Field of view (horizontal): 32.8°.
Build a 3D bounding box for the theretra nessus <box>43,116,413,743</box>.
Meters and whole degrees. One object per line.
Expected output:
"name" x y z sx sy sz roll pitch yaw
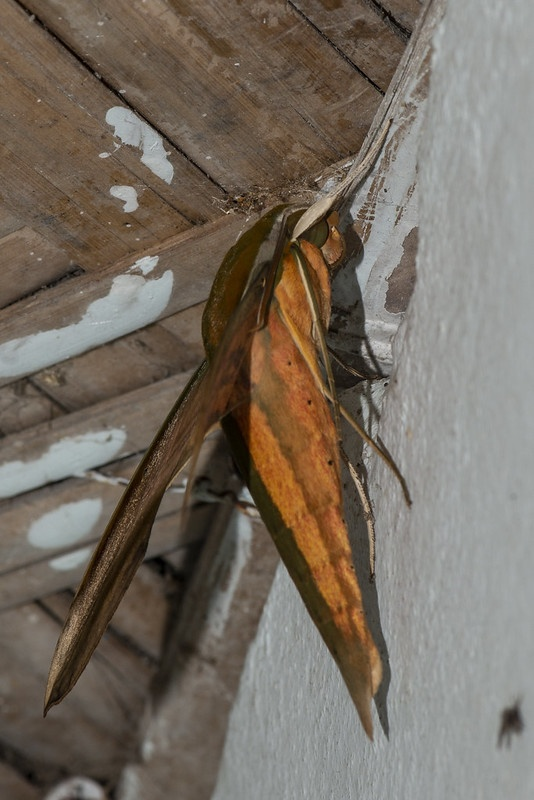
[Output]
"theretra nessus" 0.009 0.056 1.031 0.235 0.611 0.620 8 7 -5
